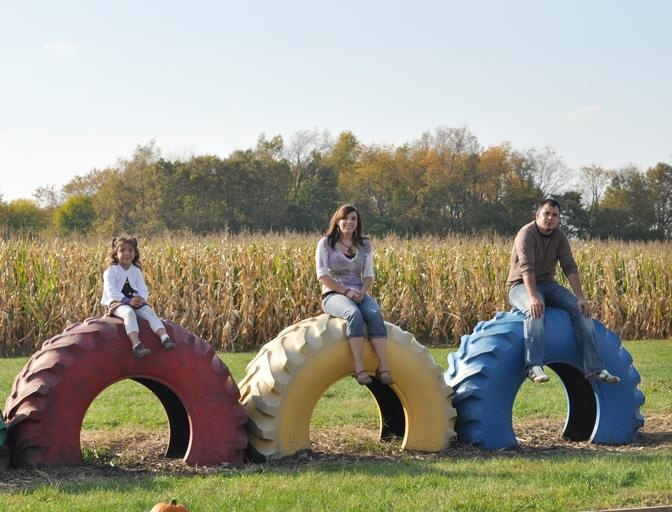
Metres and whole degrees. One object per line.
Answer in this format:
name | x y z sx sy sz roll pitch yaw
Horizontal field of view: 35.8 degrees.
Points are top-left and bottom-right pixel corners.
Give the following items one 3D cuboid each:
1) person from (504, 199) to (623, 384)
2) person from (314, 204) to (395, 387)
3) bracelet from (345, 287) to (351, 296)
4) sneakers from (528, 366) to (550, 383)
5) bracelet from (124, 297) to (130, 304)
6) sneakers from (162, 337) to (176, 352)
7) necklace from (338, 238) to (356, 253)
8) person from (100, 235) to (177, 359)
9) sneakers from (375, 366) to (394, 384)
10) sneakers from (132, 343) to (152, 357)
person | 2.922 0.418 13.993 1.071 2.334 0.919 -1 9 -9
person | 0.222 0.514 13.594 0.728 2.258 1.218 -4 11 -27
bracelet | 0.164 0.478 13.528 0.062 0.089 0.118 -2 11 -12
sneakers | 2.669 1.562 13.722 0.179 0.222 0.428 -2 11 -14
bracelet | -2.631 0.565 13.084 0.068 0.062 0.069 -1 -3 35
sneakers | -2.077 1.096 12.871 0.122 0.171 0.326 -1 2 -10
necklace | 0.140 -0.134 13.765 0.168 0.215 0.045 17 -32 -24
person | -2.587 0.482 13.152 0.581 1.354 1.155 -6 12 -35
sneakers | 0.612 1.543 13.366 0.225 0.263 0.222 1 10 5
sneakers | -2.385 1.153 12.824 0.198 0.173 0.123 -13 -5 28
